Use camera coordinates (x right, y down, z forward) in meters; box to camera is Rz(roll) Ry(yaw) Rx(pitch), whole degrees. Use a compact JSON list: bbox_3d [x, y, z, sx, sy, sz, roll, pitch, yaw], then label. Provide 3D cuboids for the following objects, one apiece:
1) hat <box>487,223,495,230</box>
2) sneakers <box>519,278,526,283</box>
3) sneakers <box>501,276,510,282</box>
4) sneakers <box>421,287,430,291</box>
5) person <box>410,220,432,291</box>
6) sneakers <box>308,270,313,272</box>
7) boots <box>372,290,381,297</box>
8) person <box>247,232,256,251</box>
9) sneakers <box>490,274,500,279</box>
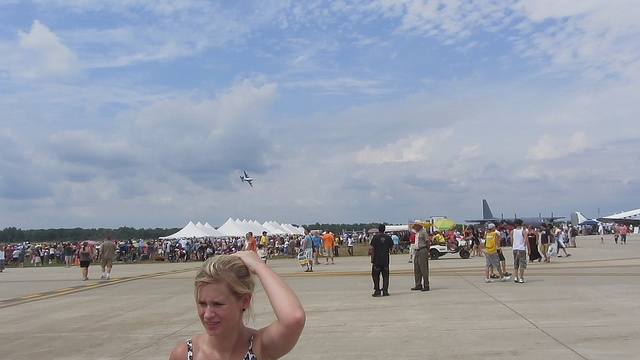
[{"bbox_3d":[7.364,1.990,20.535,0.374,0.161,0.539,-5,-6,12],"label":"hat"},{"bbox_3d":[8.355,4.106,19.590,0.183,0.175,0.343,-9,-12,34],"label":"sneakers"},{"bbox_3d":[7.981,4.206,20.392,0.498,0.181,0.170,-5,5,-25],"label":"sneakers"},{"bbox_3d":[4.081,4.210,18.568,0.312,0.170,0.212,-4,-10,11],"label":"sneakers"},{"bbox_3d":[3.973,2.999,19.079,0.818,2.728,0.960,-4,-10,9],"label":"person"},{"bbox_3d":[-0.613,4.866,25.671,0.274,0.127,0.554,-2,-9,-3],"label":"sneakers"},{"bbox_3d":[2.081,4.221,17.812,0.310,0.249,0.279,-3,-10,5],"label":"boots"},{"bbox_3d":[-3.722,3.258,25.273,0.438,0.976,1.254,-1,-10,-9],"label":"person"},{"bbox_3d":[7.612,4.174,20.642,0.587,0.168,0.217,9,1,-25],"label":"sneakers"}]
